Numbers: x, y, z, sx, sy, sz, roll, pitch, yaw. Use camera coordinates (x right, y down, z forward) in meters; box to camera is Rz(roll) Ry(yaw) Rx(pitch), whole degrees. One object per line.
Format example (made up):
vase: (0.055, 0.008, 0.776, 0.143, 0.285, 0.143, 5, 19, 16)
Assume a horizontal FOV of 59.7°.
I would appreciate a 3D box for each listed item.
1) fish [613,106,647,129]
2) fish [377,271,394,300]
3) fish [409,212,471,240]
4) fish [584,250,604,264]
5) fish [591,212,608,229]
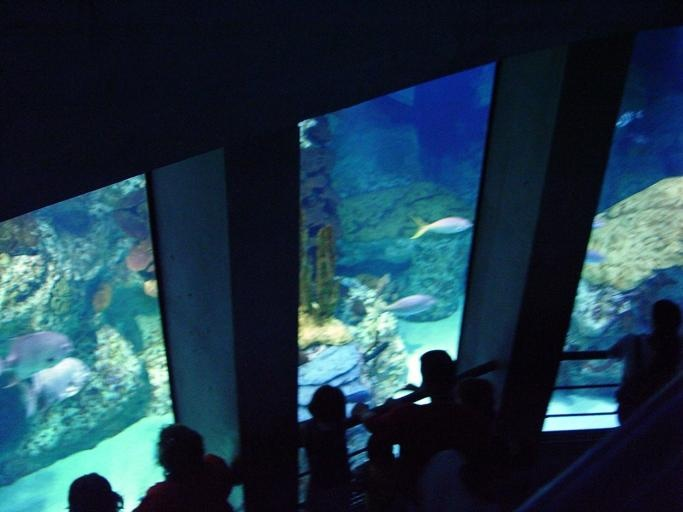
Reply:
fish: (2.151, -1.052, 4.465, 0.265, 0.114, 0.048, -15, 35, 4)
fish: (0.334, 0.236, 4.768, 0.142, 0.172, 0.054, 5, 11, -30)
fish: (0.804, -0.243, 4.794, 0.558, 0.184, 0.076, -7, -1, -24)
fish: (2.014, 0.000, 4.757, 0.149, 0.101, 0.027, -7, 0, -13)
fish: (2.016, -0.276, 4.671, 0.104, 0.122, 0.038, -8, 0, -6)
